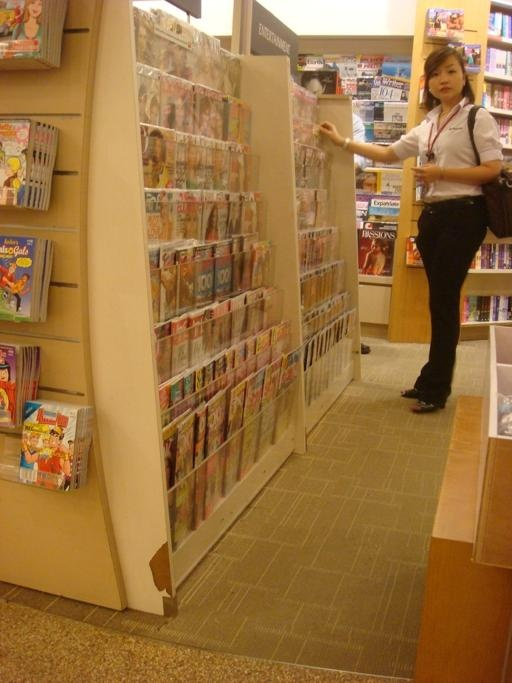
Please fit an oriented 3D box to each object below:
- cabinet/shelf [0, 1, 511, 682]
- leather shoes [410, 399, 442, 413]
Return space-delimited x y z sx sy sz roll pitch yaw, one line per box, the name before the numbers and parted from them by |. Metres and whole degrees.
cabinet/shelf | -0.077 0.579 1.216 1.471 3.721 3.856 3 11 16
leather shoes | 1.032 0.394 3.082 0.188 0.083 0.074 -1 11 -8
